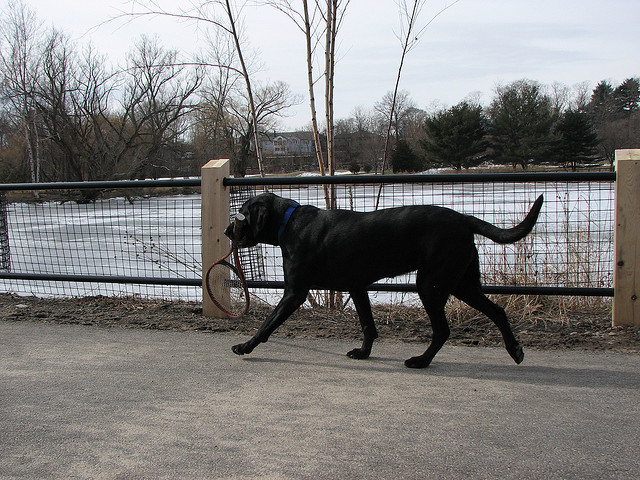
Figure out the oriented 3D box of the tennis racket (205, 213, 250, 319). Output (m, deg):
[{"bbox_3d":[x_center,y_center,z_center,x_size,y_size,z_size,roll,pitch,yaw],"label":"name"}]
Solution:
[{"bbox_3d":[-0.945,0.252,6.257,0.082,0.496,1.258,-39,-17,-31],"label":"tennis racket"}]
